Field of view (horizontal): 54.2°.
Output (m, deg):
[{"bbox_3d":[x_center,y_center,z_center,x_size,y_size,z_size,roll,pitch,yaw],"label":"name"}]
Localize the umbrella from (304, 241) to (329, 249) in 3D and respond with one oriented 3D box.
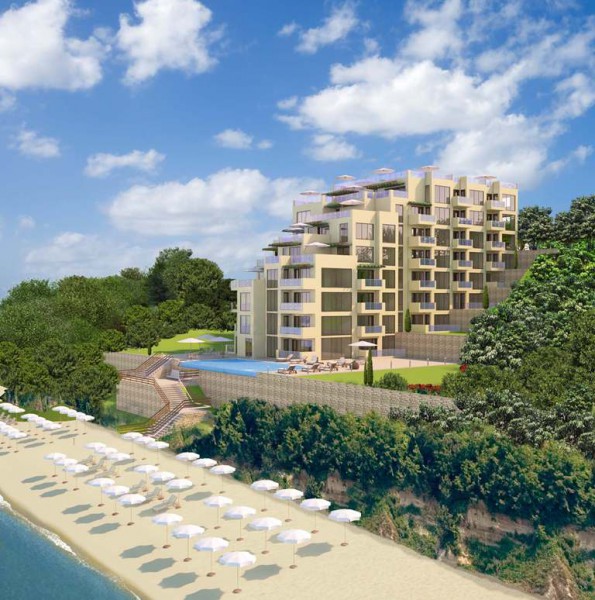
[{"bbox_3d":[2.597,-7.375,75.182,3.015,0.975,5.031,-4,4,3],"label":"umbrella"}]
